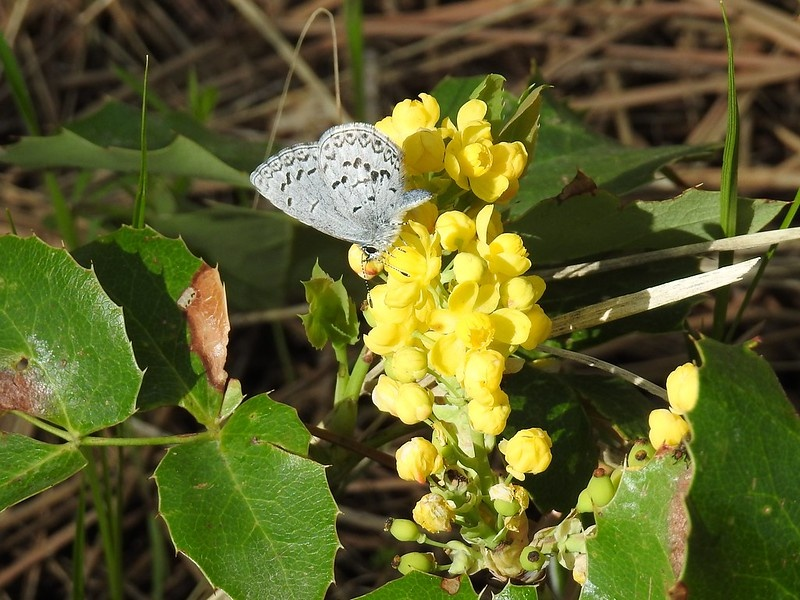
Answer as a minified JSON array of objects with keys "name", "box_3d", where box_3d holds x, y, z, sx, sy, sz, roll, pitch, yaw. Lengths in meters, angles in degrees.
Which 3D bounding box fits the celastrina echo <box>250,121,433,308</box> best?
[{"name":"celastrina echo","box_3d":[-0.153,-0.301,2.373,0.396,0.556,0.334,-42,96,3]}]

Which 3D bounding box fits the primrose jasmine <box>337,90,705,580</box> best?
[{"name":"primrose jasmine","box_3d":[0.336,0.101,2.391,0.692,0.817,1.259,3,103,10]}]
